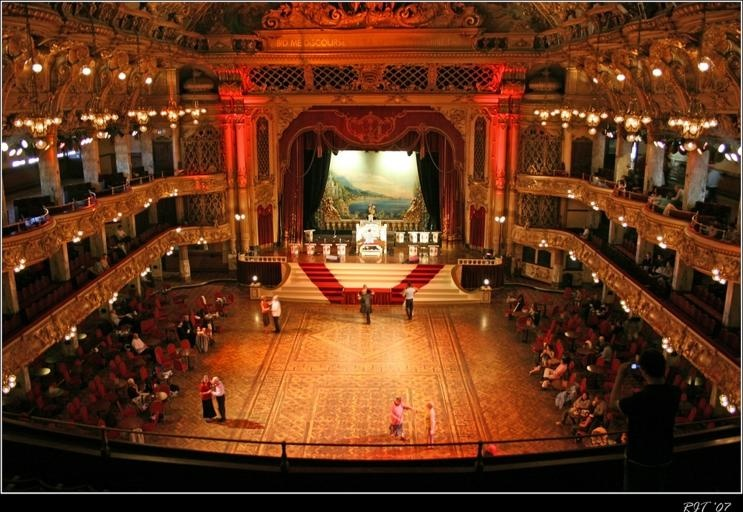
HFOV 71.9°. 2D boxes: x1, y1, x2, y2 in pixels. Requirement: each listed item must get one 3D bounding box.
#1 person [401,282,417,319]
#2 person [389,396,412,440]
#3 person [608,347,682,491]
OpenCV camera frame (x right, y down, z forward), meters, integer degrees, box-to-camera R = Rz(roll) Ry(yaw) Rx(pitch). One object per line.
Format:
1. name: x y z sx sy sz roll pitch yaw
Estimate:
1. person: 1.626 1.876 22.256 0.387 1.577 1.177 -2 11 5
2. person: 0.821 4.364 14.495 0.500 1.308 1.264 0 11 14
3. person: 3.680 2.343 7.000 1.011 2.377 0.609 -1 12 7
